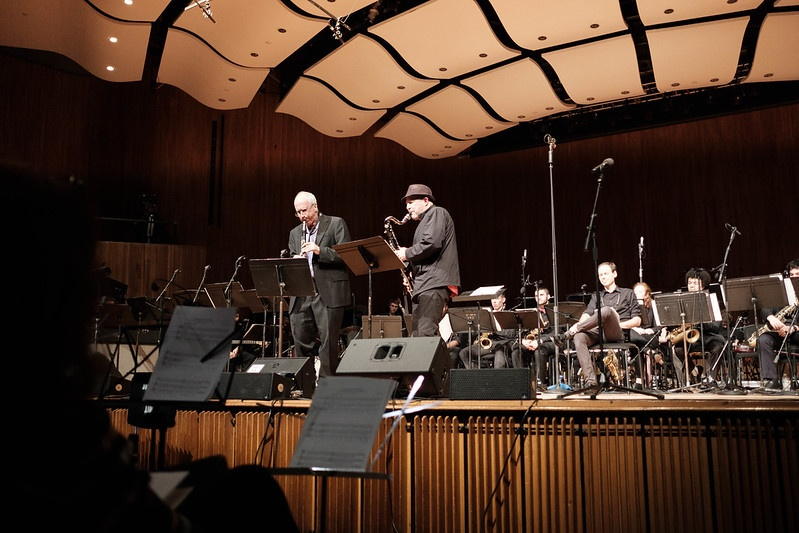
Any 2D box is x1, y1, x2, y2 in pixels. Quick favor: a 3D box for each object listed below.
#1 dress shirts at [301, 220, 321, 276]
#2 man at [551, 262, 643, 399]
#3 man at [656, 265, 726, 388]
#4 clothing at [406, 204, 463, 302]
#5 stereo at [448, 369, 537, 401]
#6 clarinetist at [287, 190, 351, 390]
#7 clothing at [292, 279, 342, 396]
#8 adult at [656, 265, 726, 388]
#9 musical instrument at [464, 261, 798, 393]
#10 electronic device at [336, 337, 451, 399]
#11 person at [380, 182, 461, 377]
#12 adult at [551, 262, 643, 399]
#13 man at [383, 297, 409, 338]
[{"bbox_3d":[-0.910,-0.188,6.766,0.149,0.603,0.171,-13,-40,19],"label":"dress shirts"},{"bbox_3d":[2.255,0.607,7.495,0.818,1.547,0.588,20,-24,-30],"label":"man"},{"bbox_3d":[3.891,0.783,8.946,0.664,1.462,0.706,5,18,45],"label":"man"},{"bbox_3d":[0.293,-0.126,7.007,0.626,1.162,0.870,0,-10,12],"label":"clothing"},{"bbox_3d":[0.754,0.981,5.562,0.680,0.258,0.217,0,-8,1],"label":"stereo"},{"bbox_3d":[-0.881,0.293,6.779,0.574,1.960,0.640,3,12,17],"label":"clarinetist"},{"bbox_3d":[-0.894,0.653,6.898,0.453,0.347,1.208,7,-50,2],"label":"clothing"},{"bbox_3d":[3.889,0.789,8.926,0.717,1.452,0.728,-6,10,17],"label":"adult"},{"bbox_3d":[3.100,0.816,8.588,4.466,2.361,1.194,1,-11,6],"label":"musical instrument"},{"bbox_3d":[-0.012,0.800,5.692,0.754,0.504,0.558,0,26,24],"label":"electronic device"},{"bbox_3d":[0.200,0.197,7.993,1.102,3.172,1.208,2,-38,1],"label":"person"},{"bbox_3d":[2.254,0.609,7.491,0.807,1.542,0.595,19,-24,-31],"label":"adult"},{"bbox_3d":[-0.166,0.778,11.079,0.356,0.761,0.382,0,-12,-25],"label":"man"}]
